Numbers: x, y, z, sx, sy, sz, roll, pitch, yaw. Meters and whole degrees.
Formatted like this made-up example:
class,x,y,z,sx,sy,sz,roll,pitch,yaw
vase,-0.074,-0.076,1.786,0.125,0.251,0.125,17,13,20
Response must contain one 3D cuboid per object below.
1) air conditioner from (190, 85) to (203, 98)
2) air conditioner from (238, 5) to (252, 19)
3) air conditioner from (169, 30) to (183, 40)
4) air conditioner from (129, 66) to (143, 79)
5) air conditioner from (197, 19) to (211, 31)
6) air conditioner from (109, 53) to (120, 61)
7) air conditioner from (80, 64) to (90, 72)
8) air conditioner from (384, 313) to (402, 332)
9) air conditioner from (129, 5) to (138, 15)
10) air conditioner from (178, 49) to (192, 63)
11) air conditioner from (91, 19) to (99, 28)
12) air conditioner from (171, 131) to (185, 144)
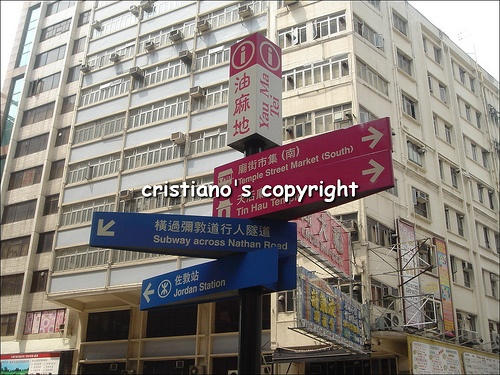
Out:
class,x,y,z,sx,sy,sz,roll,pitch,yaw
air conditioner,-3.195,-5.676,31.590,0.776,0.445,0.620,-11,-28,25
air conditioner,-0.266,-10.686,32.076,0.798,0.600,0.587,-13,-29,28
air conditioner,-4.698,-9.705,33.672,0.831,0.559,0.543,-14,-30,29
air conditioner,-7.291,-7.385,33.920,0.701,0.528,0.767,-12,-29,26
air conditioner,-2.909,-10.085,33.053,0.860,0.493,0.570,-17,-31,33
air conditioner,-9.045,-8.700,35.309,0.714,0.492,0.412,-9,-28,21
air conditioner,-11.237,-8.106,36.013,0.461,0.447,0.288,-7,-5,21
air conditioner,6.693,6.335,24.904,0.262,0.614,0.746,-23,-34,40
air conditioner,-7.921,-12.101,36.132,0.539,0.587,0.932,4,-15,-21
air conditioner,-3.955,-8.097,32.674,0.743,0.553,0.761,-3,-20,11
air conditioner,-10.955,-11.552,37.514,0.571,0.552,0.435,0,2,26
air conditioner,-4.153,-2.887,30.673,0.673,0.506,0.683,-3,-11,15
